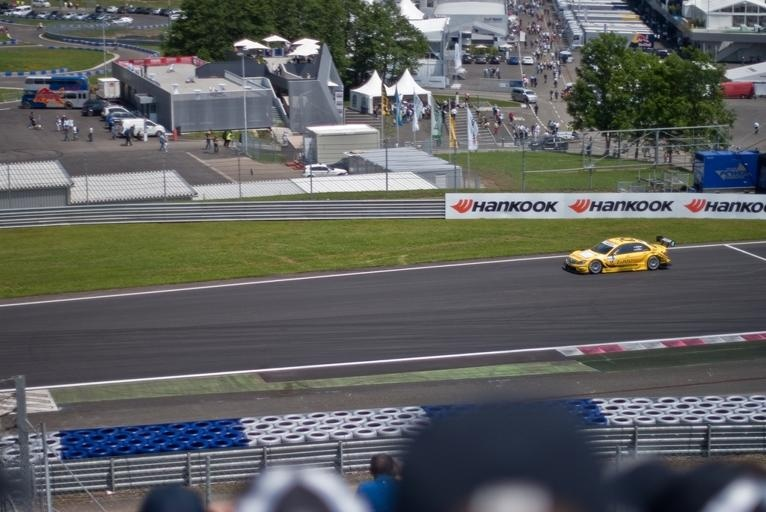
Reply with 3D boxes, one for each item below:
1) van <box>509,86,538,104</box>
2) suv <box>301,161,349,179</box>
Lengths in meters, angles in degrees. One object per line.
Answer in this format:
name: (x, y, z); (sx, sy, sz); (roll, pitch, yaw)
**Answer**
van: (14.100, -16.047, 204.443); (1.702, 0.976, 2.500); (-5, 8, -37)
suv: (-5.120, -7.253, 171.756); (3.341, 0.819, 1.443); (-3, 14, -9)
